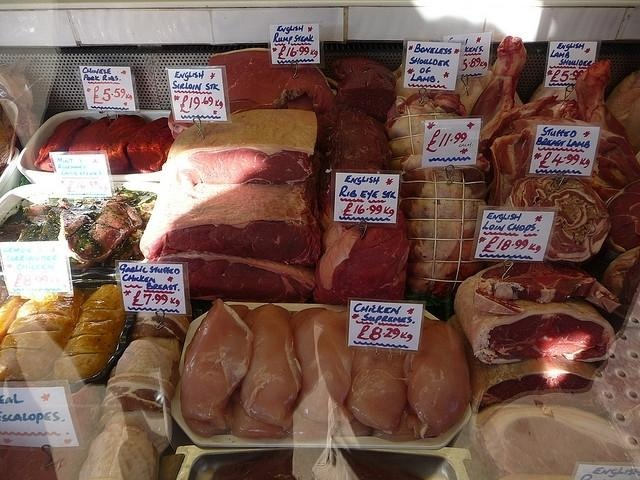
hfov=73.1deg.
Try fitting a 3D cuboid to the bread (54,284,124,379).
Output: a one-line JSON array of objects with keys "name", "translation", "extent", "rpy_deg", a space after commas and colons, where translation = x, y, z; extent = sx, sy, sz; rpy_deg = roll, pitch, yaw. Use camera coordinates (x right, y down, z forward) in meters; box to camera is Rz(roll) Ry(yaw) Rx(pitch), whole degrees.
[{"name": "bread", "translation": [-0.973, 0.392, 1.857], "extent": [0.205, 0.096, 0.359], "rpy_deg": [12, 51, -8]}]
